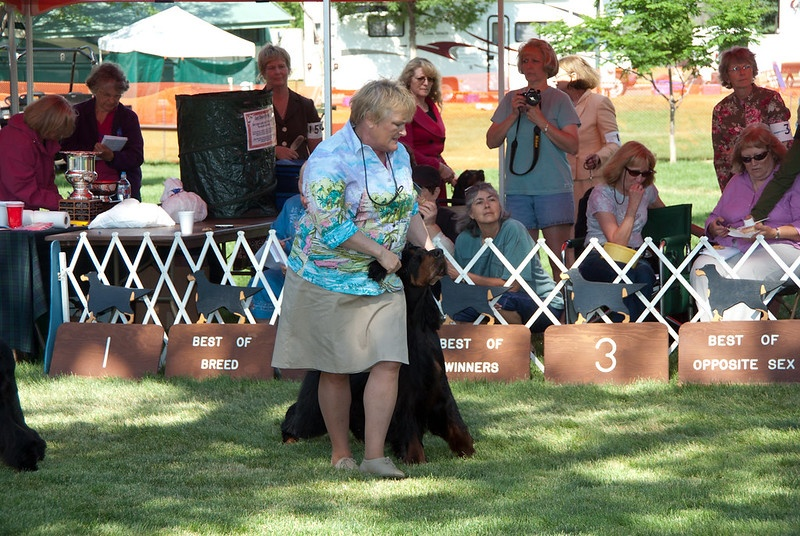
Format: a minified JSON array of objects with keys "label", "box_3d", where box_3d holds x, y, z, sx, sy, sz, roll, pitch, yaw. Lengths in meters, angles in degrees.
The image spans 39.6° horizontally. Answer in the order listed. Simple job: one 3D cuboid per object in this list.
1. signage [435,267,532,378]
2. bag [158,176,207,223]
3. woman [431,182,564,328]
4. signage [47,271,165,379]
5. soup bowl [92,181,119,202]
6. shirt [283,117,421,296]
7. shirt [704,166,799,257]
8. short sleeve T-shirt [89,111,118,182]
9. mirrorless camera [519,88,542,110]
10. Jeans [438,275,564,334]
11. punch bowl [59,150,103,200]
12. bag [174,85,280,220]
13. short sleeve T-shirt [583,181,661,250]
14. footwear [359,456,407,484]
[{"label":"signage","box_3d":[0.650,0.433,8.680,1.063,0.563,0.053,0,-3,3]},{"label":"bag","box_3d":[-1.971,-0.598,9.979,0.356,0.264,0.486,-18,31,-25]},{"label":"woman","box_3d":[0.835,0.008,9.061,1.216,1.292,0.917,-4,7,-2]},{"label":"signage","box_3d":[-2.406,0.485,9.061,1.030,0.893,0.047,2,-5,7]},{"label":"soup bowl","box_3d":[-2.655,-0.700,10.062,0.231,0.137,0.223,-2,-2,0]},{"label":"shirt","box_3d":[-0.284,-0.446,7.197,0.821,1.019,0.982,11,17,34]},{"label":"shirt","box_3d":[2.905,-0.451,9.053,0.505,0.659,0.840,21,-4,-38]},{"label":"short sleeve T-shirt","box_3d":[-2.721,-1.113,10.278,0.390,0.524,0.168,1,14,-28]},{"label":"mirrorless camera","box_3d":[1.159,-1.504,9.828,0.198,0.162,0.072,10,6,21]},{"label":"Jeans","box_3d":[0.779,0.285,8.812,0.657,0.323,0.135,23,-26,10]},{"label":"punch bowl","box_3d":[-2.831,-0.819,9.833,0.370,0.405,0.383,0,5,0]},{"label":"bag","box_3d":[-1.771,-1.062,10.538,1.258,1.159,1.098,2,13,9]},{"label":"short sleeve T-shirt","box_3d":[1.840,-0.427,9.136,0.604,0.398,0.312,10,7,-25]},{"label":"footwear","box_3d":[-0.104,1.281,7.077,0.267,0.090,0.127,3,-7,15]}]
